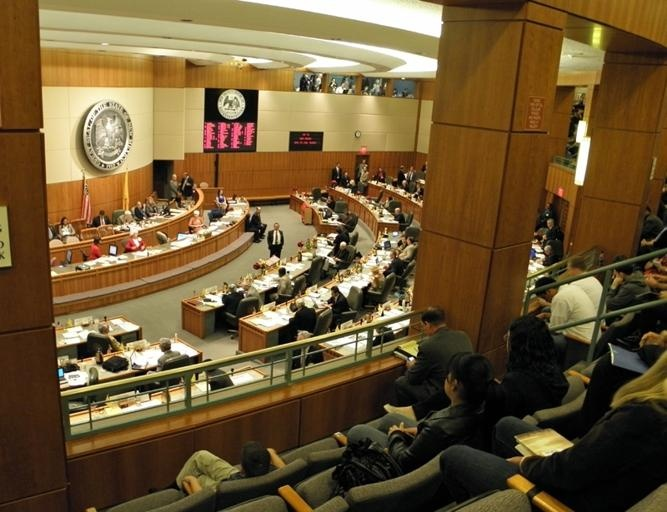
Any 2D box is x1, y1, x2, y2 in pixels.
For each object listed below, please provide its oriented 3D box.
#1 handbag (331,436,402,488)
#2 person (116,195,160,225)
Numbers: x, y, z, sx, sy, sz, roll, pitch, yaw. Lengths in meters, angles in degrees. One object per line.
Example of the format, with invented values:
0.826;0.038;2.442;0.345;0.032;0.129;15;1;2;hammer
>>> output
0.240;1.337;3.302;0.363;0.151;0.338;-4;8;-26;handbag
-6.903;-1.617;17.345;0.437;0.509;1.453;3;19;10;person
